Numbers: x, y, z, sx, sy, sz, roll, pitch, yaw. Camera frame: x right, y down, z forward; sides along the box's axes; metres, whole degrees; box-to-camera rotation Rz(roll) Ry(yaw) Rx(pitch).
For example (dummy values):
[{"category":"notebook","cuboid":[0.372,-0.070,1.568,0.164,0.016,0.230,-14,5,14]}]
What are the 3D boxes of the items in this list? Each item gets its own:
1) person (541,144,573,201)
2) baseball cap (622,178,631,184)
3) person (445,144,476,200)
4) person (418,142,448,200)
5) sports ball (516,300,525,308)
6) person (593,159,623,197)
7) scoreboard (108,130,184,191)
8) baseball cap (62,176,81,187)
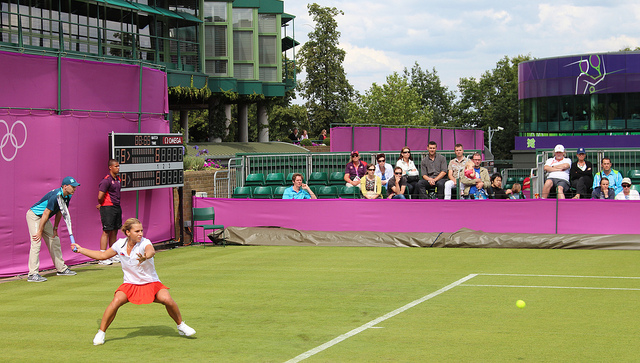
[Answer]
[{"category":"person","cuboid":[8.939,-0.383,34.976,0.997,1.986,0.907,1,2,13]},{"category":"baseball cap","cuboid":[11.254,-0.047,34.063,0.286,0.187,0.323,1,2,13]},{"category":"person","cuboid":[5.424,-0.382,35.742,0.921,2.208,0.966,0,0,24]},{"category":"person","cuboid":[4.472,-0.413,36.366,1.029,2.216,1.036,0,0,19]},{"category":"sports ball","cuboid":[5.934,3.602,27.461,0.206,0.194,0.197,-16,-25,-7]},{"category":"person","cuboid":[10.817,-0.170,34.644,0.795,1.509,0.636,-1,1,32]},{"category":"scoreboard","cuboid":[-6.268,-0.762,33.655,0.622,2.078,3.205,3,3,35]},{"category":"baseball cap","cuboid":[-8.140,-0.015,30.314,0.530,0.266,0.321,0,-1,4]}]
